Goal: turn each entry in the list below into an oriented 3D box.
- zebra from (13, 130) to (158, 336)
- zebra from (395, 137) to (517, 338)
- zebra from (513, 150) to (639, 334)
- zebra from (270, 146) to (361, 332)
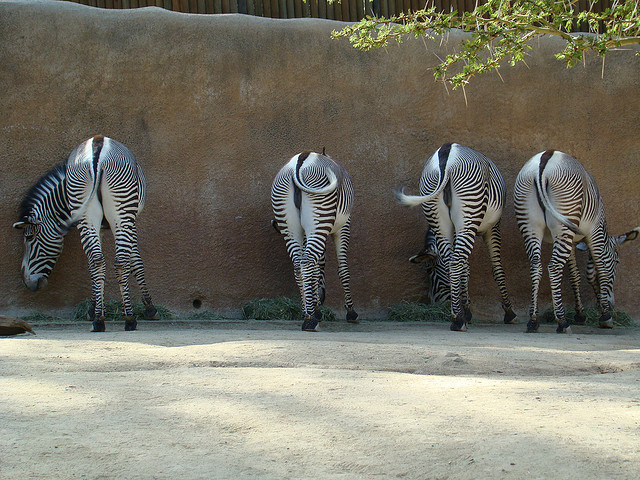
[{"bbox_3d":[-3.009,-0.113,11.841,1.618,2.556,2.575,-7,14,-34],"label":"zebra"},{"bbox_3d":[1.973,0.021,12.603,1.615,2.758,2.849,3,12,12],"label":"zebra"},{"bbox_3d":[3.566,0.068,12.622,1.634,2.702,3.060,5,12,19],"label":"zebra"},{"bbox_3d":[-0.047,0.092,12.016,1.169,2.520,2.346,2,12,5],"label":"zebra"}]
